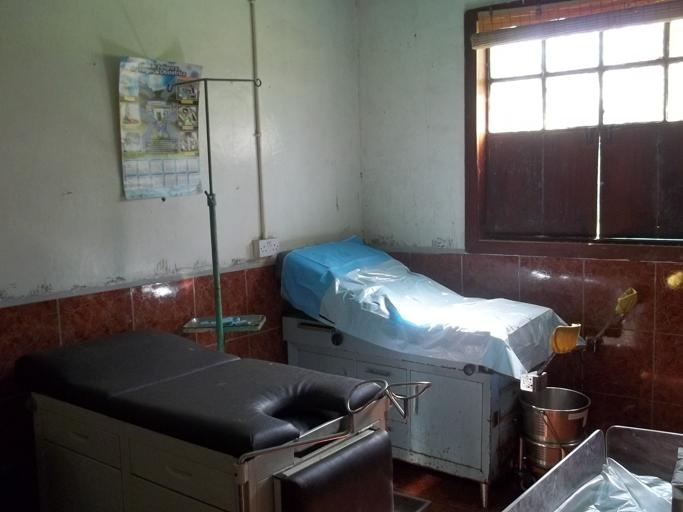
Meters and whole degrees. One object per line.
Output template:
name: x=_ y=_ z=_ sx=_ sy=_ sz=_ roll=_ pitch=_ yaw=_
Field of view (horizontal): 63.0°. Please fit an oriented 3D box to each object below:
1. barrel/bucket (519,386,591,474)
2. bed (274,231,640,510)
barrel/bucket: x=1.186 y=0.974 z=3.129 sx=0.350 sy=0.392 sz=0.402 roll=2 pitch=8 yaw=23
bed: x=0.713 y=0.474 z=3.657 sx=1.974 sy=1.465 sz=1.229 roll=3 pitch=8 yaw=36
